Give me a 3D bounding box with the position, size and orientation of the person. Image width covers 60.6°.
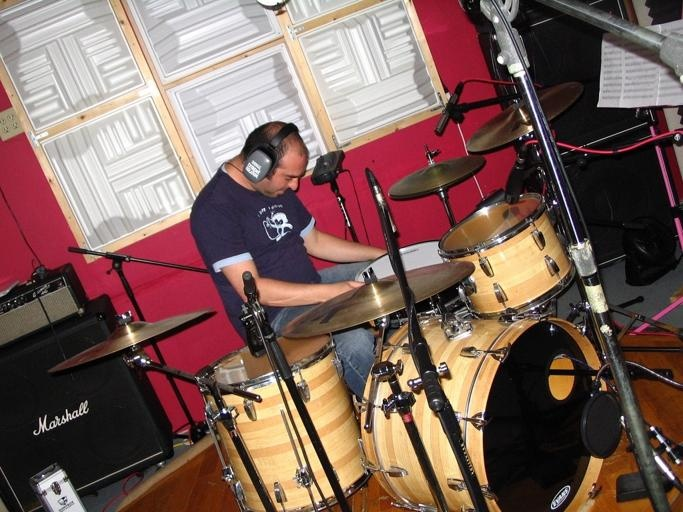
[{"bbox_3d":[-0.252,0.110,3.343,1.028,1.732,0.799,1,21,15],"label":"person"}]

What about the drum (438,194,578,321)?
[{"bbox_3d":[0.777,0.017,2.942,0.623,0.453,0.614,-28,24,13],"label":"drum"}]

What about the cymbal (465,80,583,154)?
[{"bbox_3d":[1.028,-0.783,3.332,0.561,0.290,0.574,-24,4,-28],"label":"cymbal"}]

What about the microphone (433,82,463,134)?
[{"bbox_3d":[0.725,-1.022,3.991,0.164,0.117,0.381,-11,-52,-60],"label":"microphone"}]

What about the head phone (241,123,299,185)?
[{"bbox_3d":[-0.365,-0.481,2.861,0.332,0.154,0.372,-57,8,-7],"label":"head phone"}]
